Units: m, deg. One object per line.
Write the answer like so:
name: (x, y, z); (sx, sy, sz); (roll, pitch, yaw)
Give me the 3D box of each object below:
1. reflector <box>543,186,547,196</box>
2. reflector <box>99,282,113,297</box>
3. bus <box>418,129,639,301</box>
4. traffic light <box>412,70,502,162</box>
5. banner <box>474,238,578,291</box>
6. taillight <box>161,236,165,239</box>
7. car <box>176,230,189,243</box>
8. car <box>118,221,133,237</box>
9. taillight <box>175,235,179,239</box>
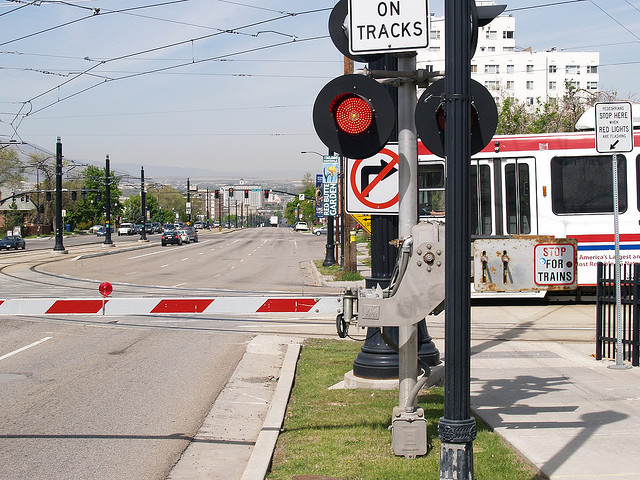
reflector: (5.707, -1.237, 19.917); (0.092, 0.237, 0.018); (0, 2, 16)
reflector: (-3.405, 0.769, 12.437); (0.235, 0.286, 0.237); (-3, 2, -4)
bus: (4.407, -1.013, 21.862); (8.945, 4.610, 3.010); (0, -1, 0)
traffic light: (1.464, -1.287, 8.334); (1.041, 1.062, 0.269); (-6, 5, 21)
banner: (2.316, 0.265, 8.693); (1.118, 0.597, 0.031); (-1, 3, -3)
taillight: (-13.194, -0.217, 65.995); (0.276, 0.312, 0.278); (0, 8, 8)
car: (-12.228, -0.283, 69.248); (0.967, 0.820, 2.121); (1, 7, 2)
car: (-28.593, -1.621, 114.961); (1.735, 1.425, 3.040); (0, -6, -5)
taillight: (-12.148, -0.292, 66.259); (0.305, 0.305, 0.194); (-2, 2, -22)
